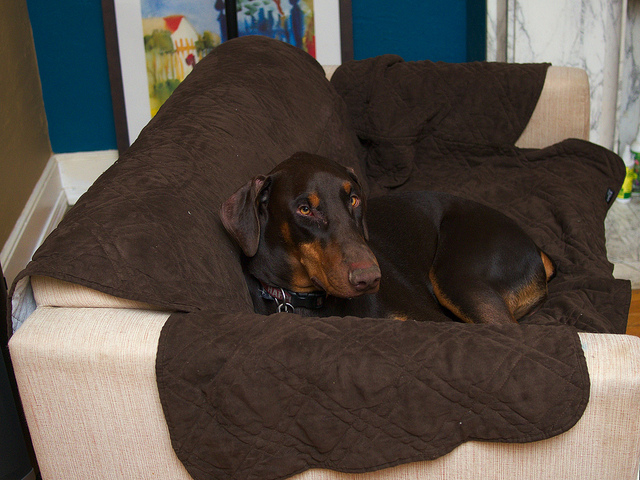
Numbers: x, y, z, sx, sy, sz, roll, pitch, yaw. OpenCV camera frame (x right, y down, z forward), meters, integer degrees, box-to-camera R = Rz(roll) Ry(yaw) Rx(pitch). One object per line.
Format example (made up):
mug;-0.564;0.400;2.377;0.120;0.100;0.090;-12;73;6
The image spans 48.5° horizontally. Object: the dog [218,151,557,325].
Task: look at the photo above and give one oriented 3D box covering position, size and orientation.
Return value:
dog;0.212;0.039;2.579;0.683;0.475;0.983;10;14;24
